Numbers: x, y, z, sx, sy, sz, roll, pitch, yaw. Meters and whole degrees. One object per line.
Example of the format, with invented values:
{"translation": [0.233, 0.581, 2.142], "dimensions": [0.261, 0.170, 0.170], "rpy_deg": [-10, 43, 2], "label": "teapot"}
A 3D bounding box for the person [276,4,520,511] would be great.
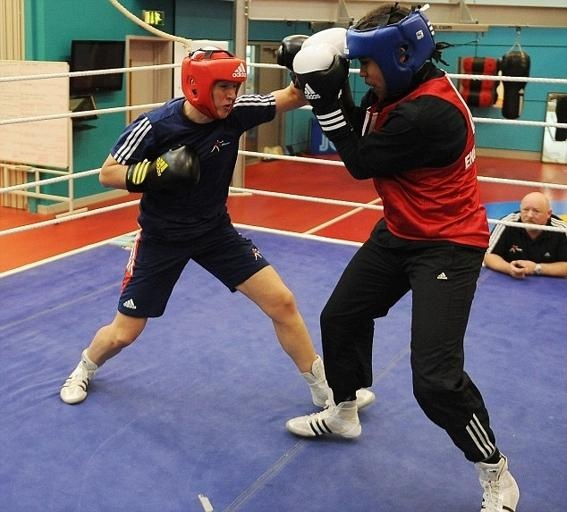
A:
{"translation": [0.356, 0.010, 1.497], "dimensions": [0.727, 1.365, 0.395], "rpy_deg": [6, 10, 25], "label": "person"}

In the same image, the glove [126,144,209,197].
{"translation": [-0.395, -0.277, 1.695], "dimensions": [0.241, 0.137, 0.088], "rpy_deg": [-6, -41, 21], "label": "glove"}

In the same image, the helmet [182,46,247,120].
{"translation": [-0.241, -0.582, 1.711], "dimensions": [0.214, 0.229, 0.169], "rpy_deg": [3, 8, 7], "label": "helmet"}

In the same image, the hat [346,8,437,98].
{"translation": [0.300, -0.545, 1.346], "dimensions": [0.272, 0.231, 0.170], "rpy_deg": [1, 8, -7], "label": "hat"}

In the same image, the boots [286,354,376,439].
{"translation": [0.084, 0.530, 1.955], "dimensions": [0.515, 0.289, 0.151], "rpy_deg": [4, 14, 6], "label": "boots"}
